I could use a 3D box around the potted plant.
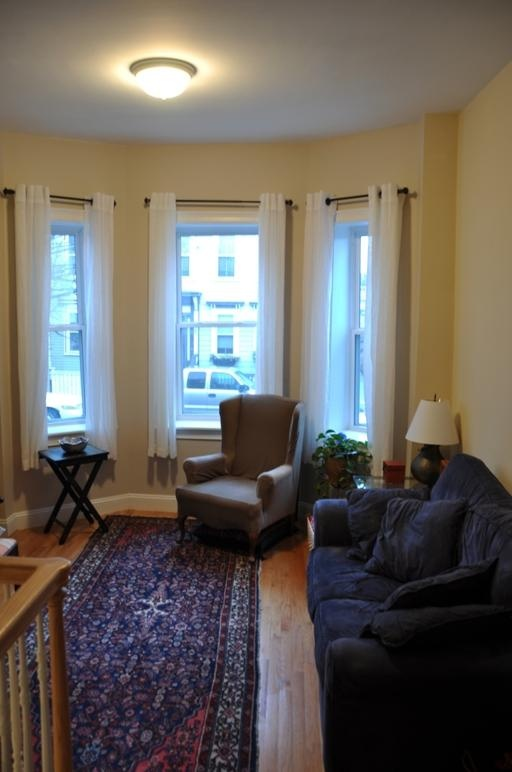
[{"bbox_3d":[0.553,0.518,3.876,0.378,0.438,0.424,0,3,0],"label":"potted plant"}]

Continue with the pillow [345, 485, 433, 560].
[{"bbox_3d":[0.589,0.648,2.828,0.090,0.342,0.298,20,-14,-32],"label":"pillow"}]

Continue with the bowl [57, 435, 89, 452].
[{"bbox_3d":[-1.290,0.416,4.178,0.173,0.083,0.246,0,5,-13],"label":"bowl"}]
